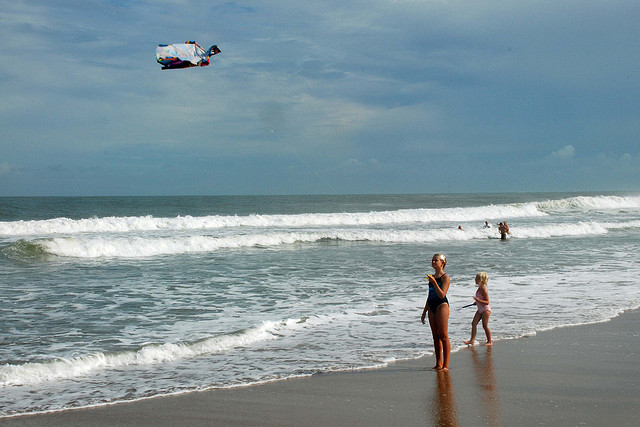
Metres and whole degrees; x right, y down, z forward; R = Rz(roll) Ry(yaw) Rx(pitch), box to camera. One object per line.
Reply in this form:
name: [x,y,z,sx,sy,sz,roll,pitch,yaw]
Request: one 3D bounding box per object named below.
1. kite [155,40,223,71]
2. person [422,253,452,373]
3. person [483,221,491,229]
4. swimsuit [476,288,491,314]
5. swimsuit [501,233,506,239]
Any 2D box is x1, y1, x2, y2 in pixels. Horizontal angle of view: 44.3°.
kite: [-3.700,-4.545,22.247,2.057,0.704,0.815,-14,27,-37]
person: [2.702,2.281,17.842,0.599,2.724,0.501,9,14,43]
person: [9.249,0.667,43.319,0.432,0.419,0.837,-2,13,11]
swimsuit: [3.994,2.191,19.311,0.365,0.611,0.236,4,11,25]
swimsuit: [9.249,1.178,39.529,0.320,0.348,0.242,1,6,-2]
